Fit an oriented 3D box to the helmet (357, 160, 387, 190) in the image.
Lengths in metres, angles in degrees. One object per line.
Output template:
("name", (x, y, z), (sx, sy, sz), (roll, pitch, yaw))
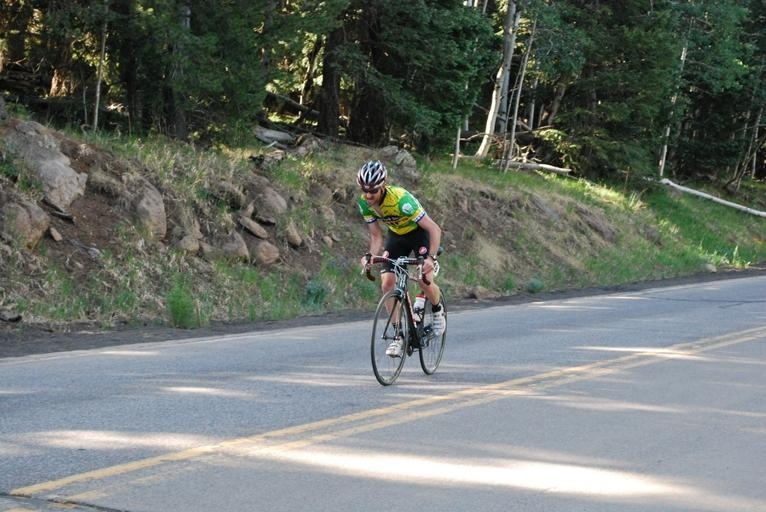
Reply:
("helmet", (-0.104, -1.214, 13.170), (0.344, 0.234, 0.488), (6, 46, 13))
